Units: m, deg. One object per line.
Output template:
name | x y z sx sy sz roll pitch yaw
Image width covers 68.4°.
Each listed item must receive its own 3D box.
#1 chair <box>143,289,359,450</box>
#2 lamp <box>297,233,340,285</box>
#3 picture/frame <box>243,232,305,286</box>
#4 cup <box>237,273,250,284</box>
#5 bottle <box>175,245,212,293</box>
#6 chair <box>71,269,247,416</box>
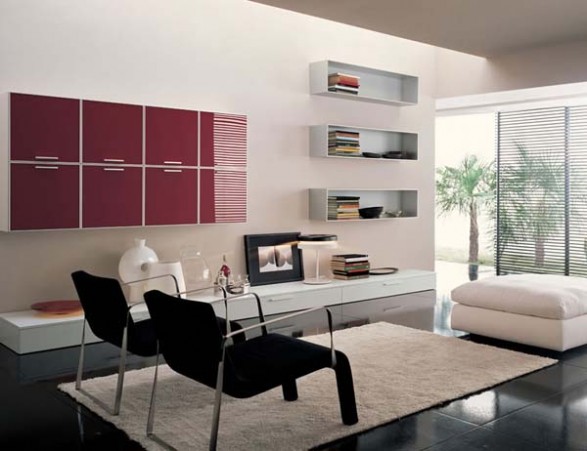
chair | -0.274 0.626 2.632 1.076 0.923 0.818 -3 3 -35
lamp | 0.256 0.434 5.882 0.581 0.685 0.579 -1 3 -13
picture/frame | -0.289 0.445 5.607 0.649 0.516 0.046 0 -7 -37
cup | -0.620 0.644 5.363 0.105 0.147 0.125 6 12 29
bottle | -1.139 0.494 5.067 0.451 0.648 0.455 -7 0 0
chair | -0.894 0.628 3.073 0.802 0.923 1.022 1 1 45
